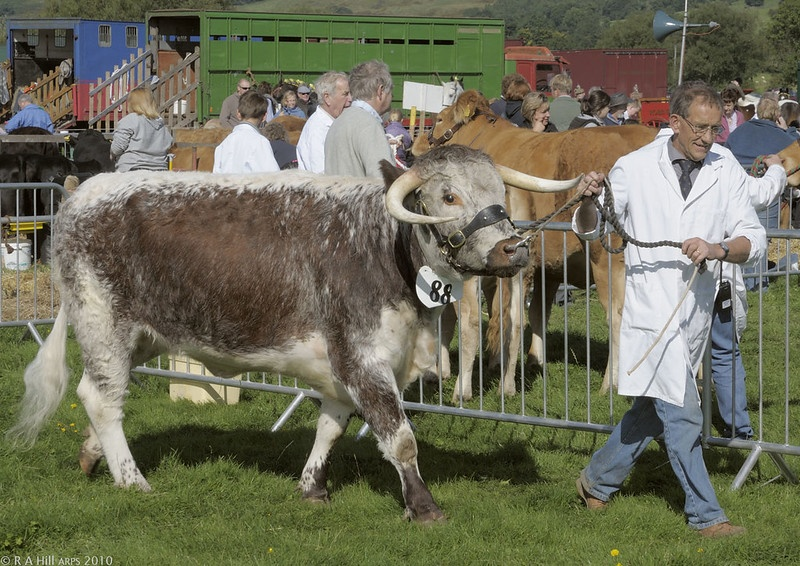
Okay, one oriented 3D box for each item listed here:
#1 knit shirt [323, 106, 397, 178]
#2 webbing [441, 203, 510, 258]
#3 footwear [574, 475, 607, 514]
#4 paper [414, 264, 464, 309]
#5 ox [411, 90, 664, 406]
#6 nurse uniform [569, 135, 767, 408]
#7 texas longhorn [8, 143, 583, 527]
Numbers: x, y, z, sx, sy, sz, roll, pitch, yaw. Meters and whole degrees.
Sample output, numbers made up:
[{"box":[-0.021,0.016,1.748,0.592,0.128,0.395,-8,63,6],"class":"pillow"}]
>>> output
[{"box":[-0.369,-1.194,9.662,0.337,0.588,0.635,-9,18,-35],"class":"knit shirt"},{"box":[0.532,-0.371,8.144,0.499,0.408,0.139,2,14,3],"class":"webbing"},{"box":[1.498,1.708,8.997,0.118,0.369,0.150,-19,-20,-11],"class":"footwear"},{"box":[0.279,0.006,8.328,0.294,0.255,0.016,4,-4,-21],"class":"paper"},{"box":[1.548,-0.677,12.147,3.328,2.755,1.084,7,16,41],"class":"ox"},{"box":[2.118,-0.200,8.645,1.189,1.697,0.862,6,17,32],"class":"nurse uniform"},{"box":[-1.095,0.458,8.961,4.189,2.941,1.551,1,11,6],"class":"texas longhorn"}]
